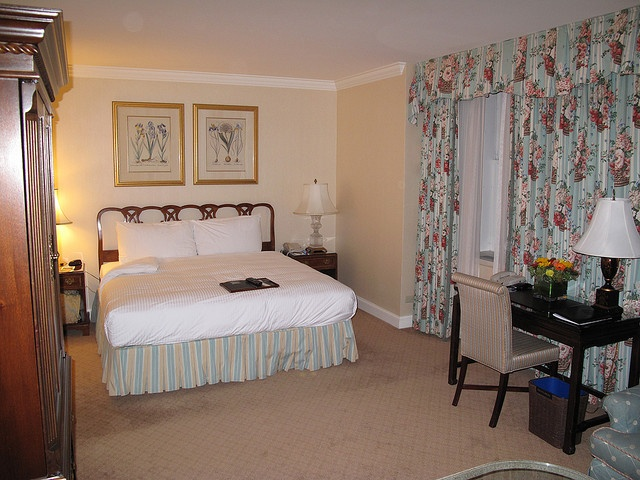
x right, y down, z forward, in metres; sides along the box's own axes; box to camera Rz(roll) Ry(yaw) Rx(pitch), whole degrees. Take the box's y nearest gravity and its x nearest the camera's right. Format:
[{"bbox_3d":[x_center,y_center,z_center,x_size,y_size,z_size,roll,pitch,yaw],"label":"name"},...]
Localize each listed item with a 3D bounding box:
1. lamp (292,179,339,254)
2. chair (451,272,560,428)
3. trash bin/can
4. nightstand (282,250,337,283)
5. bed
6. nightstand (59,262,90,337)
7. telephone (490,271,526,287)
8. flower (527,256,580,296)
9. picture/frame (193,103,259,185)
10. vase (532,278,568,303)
[{"bbox_3d":[-0.071,-0.302,6.739,0.859,1.322,0.849,0,1,-5],"label":"lamp"},{"bbox_3d":[1.583,0.864,4.085,0.785,1.191,0.726,-4,9,-1],"label":"chair"},{"bbox_3d":[1.858,1.359,3.767,0.217,0.419,0.344,-5,10,-21],"label":"trash bin/can"},{"bbox_3d":[-0.107,0.412,6.590,0.572,0.599,0.421,-4,8,-32],"label":"nightstand"},{"bbox_3d":[-1.312,0.683,5.406,2.209,1.402,2.245,-3,8,-23],"label":"bed"},{"bbox_3d":[-2.921,0.725,5.659,0.435,0.696,0.436,-2,4,-9],"label":"nightstand"},{"bbox_3d":[1.744,0.353,4.404,0.244,0.079,0.198,-7,8,-23],"label":"telephone"},{"bbox_3d":[1.960,0.307,4.069,0.324,0.329,0.334,-3,7,-14],"label":"flower"},{"bbox_3d":[-1.294,-1.319,6.393,0.985,1.250,0.088,-3,10,-22],"label":"picture/frame"},{"bbox_3d":[1.987,0.417,4.112,0.203,0.206,0.197,0,1,-17],"label":"vase"}]
